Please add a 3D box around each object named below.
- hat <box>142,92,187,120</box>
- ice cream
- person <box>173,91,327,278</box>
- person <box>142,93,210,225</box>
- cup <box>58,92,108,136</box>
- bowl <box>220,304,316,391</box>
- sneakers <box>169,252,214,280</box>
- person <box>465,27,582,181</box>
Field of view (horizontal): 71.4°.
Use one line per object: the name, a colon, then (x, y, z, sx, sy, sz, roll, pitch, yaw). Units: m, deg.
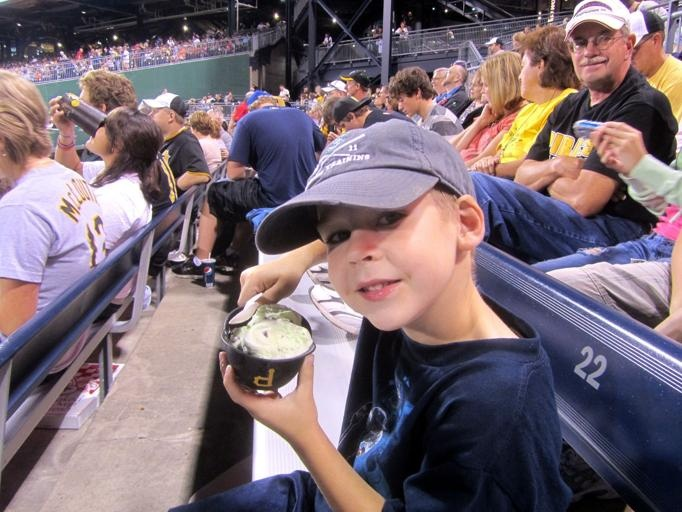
hat: (-1.880, -1.650, 5.191, 0.491, 0.278, 0.331, 9, 10, -27)
ice cream: (-0.160, 0.202, 1.097, 0.199, 0.083, 0.224, 2, 27, -12)
person: (-0.949, -0.677, 4.846, 1.332, 1.767, 1.014, 1, 11, -13)
person: (-1.468, -0.848, 4.277, 0.498, 1.017, 1.570, -3, 46, -14)
cup: (-1.835, -0.997, 3.354, 0.370, 0.160, 0.187, -1, 12, -13)
bowl: (-0.168, 0.197, 1.072, 0.165, 0.137, 0.202, 16, 27, 7)
sneakers: (-1.473, 0.100, 4.713, 0.503, 0.268, 0.223, 6, 24, -4)
person: (1.063, -0.879, 2.889, 0.692, 0.954, 0.511, -8, 7, -10)
